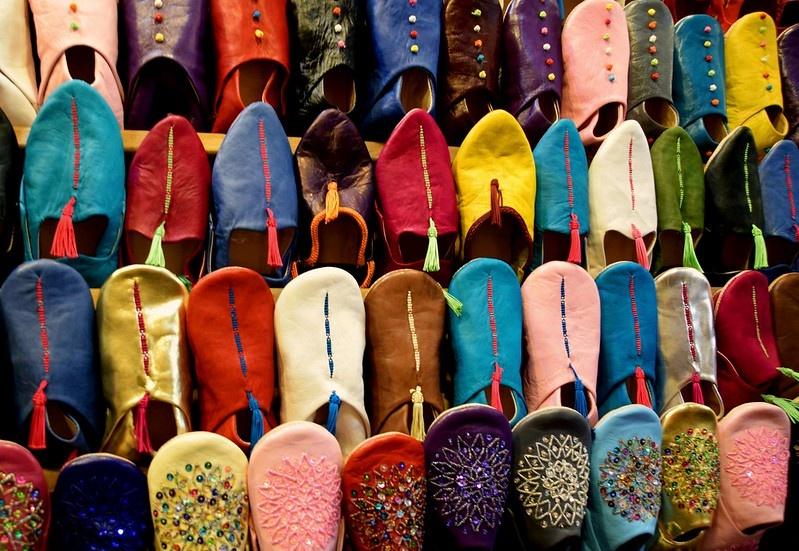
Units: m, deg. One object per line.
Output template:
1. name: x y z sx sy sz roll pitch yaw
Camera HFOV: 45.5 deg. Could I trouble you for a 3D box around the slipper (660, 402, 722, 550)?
1. slipper: 0.846 0.557 2.771 0.135 0.482 0.121 0 4 0
